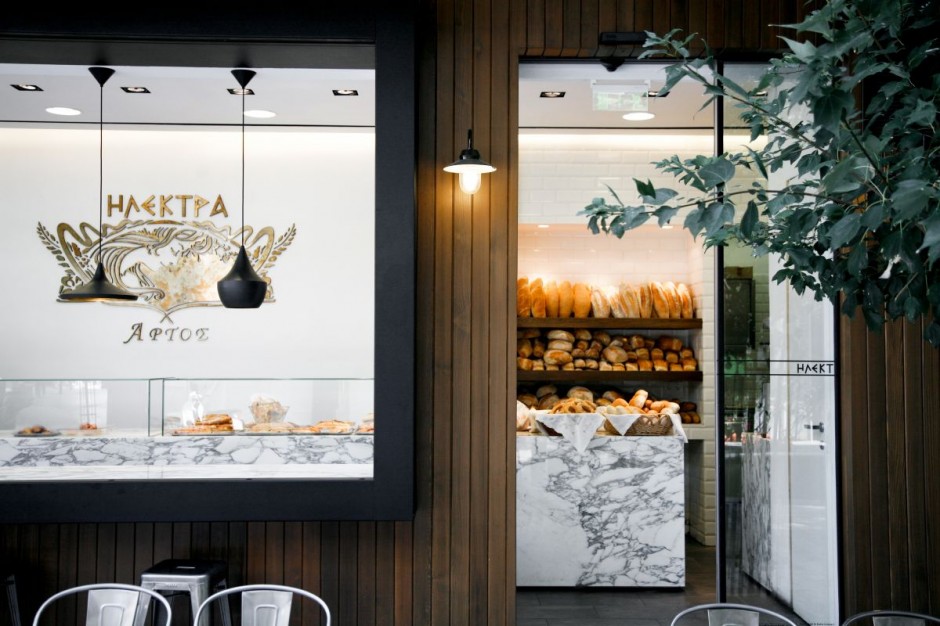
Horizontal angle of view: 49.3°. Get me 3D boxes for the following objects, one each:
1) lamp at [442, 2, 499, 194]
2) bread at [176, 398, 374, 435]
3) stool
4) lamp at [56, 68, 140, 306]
[{"bbox_3d":[0.001,-1.133,6.910,0.319,0.672,0.313,8,-14,-27],"label":"lamp"},{"bbox_3d":[-1.281,0.685,6.671,1.272,0.269,0.320,-1,-2,-15],"label":"bread"},{"bbox_3d":[-1.830,1.733,6.631,0.455,0.465,0.475,-1,-2,16],"label":"stool"},{"bbox_3d":[-2.895,-0.910,7.997,0.593,1.701,2.087,-1,-3,-21],"label":"lamp"}]
